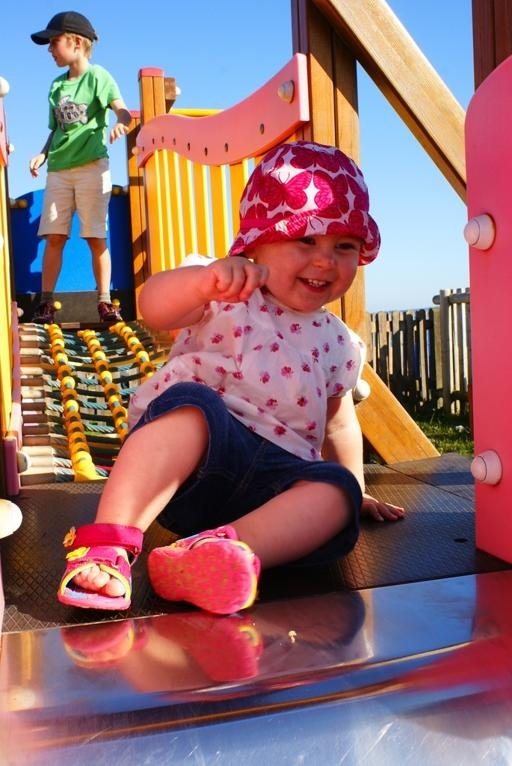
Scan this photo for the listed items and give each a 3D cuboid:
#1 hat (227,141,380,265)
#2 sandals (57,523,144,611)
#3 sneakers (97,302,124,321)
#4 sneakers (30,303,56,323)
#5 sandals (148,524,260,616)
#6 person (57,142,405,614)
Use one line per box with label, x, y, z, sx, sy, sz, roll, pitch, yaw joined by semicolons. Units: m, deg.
hat;0.075;-0.333;1.259;0.219;0.144;0.230;-4;2;-28
sandals;-0.204;0.234;0.828;0.065;0.056;0.138;6;-10;-8
sneakers;-0.865;-0.415;3.924;0.076;0.066;0.159;-7;13;-33
sneakers;-1.180;-0.385;3.701;0.117;0.136;0.218;0;-2;-18
sandals;-0.061;0.241;0.832;0.140;0.077;0.052;-1;4;39
person;-0.020;-0.088;1.116;0.456;0.767;0.629;-1;-2;10
